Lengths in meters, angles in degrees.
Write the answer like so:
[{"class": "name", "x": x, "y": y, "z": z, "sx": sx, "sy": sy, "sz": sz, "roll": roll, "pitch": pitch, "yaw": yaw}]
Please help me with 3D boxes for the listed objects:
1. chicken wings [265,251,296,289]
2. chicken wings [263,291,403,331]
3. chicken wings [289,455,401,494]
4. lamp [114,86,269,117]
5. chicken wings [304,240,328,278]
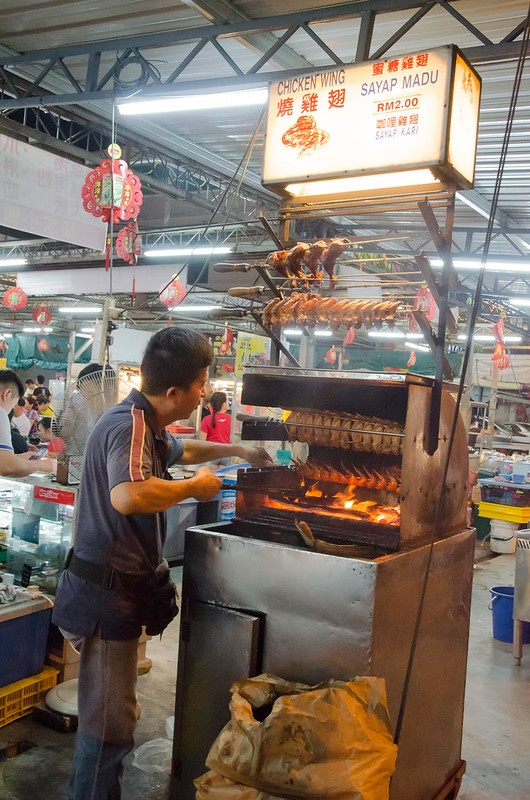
[{"class": "chicken wings", "x": 0.069, "y": -0.595, "z": 2.665, "sx": 0.066, "sy": 0.139, "sz": 0.143, "roll": -21, "pitch": -2, "yaw": -12}, {"class": "chicken wings", "x": 0.278, "y": -0.392, "z": 2.651, "sx": 0.654, "sy": 0.118, "sz": 0.295, "roll": 6, "pitch": 3, "yaw": 10}, {"class": "chicken wings", "x": 0.405, "y": 0.377, "z": 2.872, "sx": 0.567, "sy": 0.119, "sz": 0.104, "roll": 8, "pitch": 4, "yaw": 36}, {"class": "lamp", "x": -0.572, "y": -2.282, "z": 4.511, "sx": 1.382, "sy": 0.098, "sz": 0.255, "roll": 7, "pitch": 3, "yaw": 25}, {"class": "chicken wings", "x": 0.228, "y": -0.629, "z": 2.647, "sx": 0.049, "sy": 0.173, "sz": 0.105, "roll": -16, "pitch": 50, "yaw": -40}]
